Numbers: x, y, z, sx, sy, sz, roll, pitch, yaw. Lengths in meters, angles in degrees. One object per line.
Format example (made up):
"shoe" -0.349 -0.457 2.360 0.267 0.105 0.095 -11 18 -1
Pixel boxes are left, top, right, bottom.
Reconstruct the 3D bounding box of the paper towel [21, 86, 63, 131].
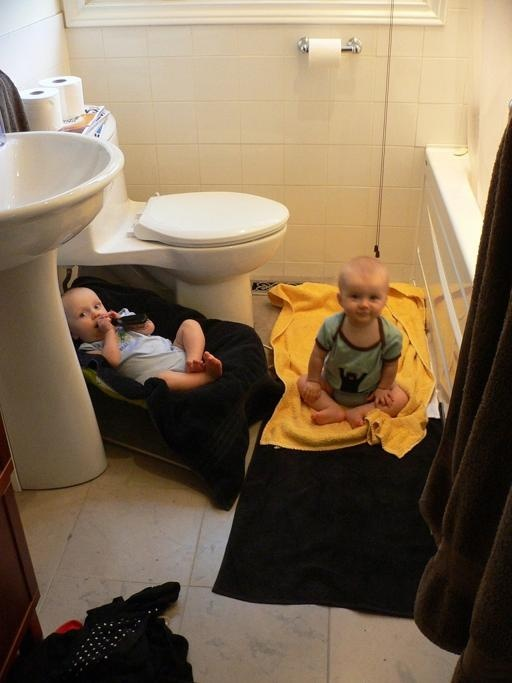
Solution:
"paper towel" -0.579 -0.624 1.429 0.092 0.094 0.088 -12 32 -14

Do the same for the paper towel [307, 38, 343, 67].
"paper towel" 0.228 -1.022 1.836 0.107 0.086 0.090 2 43 7

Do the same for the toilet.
"toilet" -0.300 -0.374 1.808 0.779 0.655 0.455 -4 38 -2
